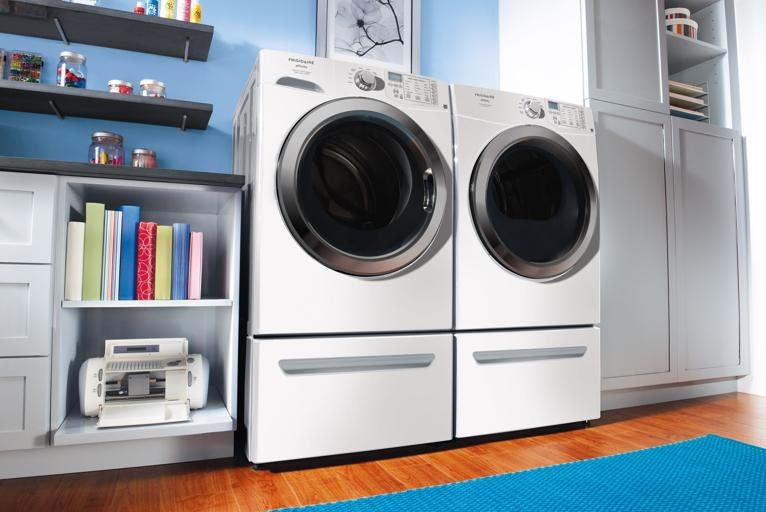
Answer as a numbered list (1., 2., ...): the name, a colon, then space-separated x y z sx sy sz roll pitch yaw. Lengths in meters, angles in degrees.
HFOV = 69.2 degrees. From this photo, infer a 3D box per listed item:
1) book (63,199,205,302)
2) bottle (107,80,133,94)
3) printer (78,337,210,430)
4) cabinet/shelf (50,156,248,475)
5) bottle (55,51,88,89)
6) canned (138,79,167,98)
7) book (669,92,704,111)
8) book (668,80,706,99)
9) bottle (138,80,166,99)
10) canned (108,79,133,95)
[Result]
1. book: -1.087 -0.014 2.379 0.441 0.356 0.172 3 -7 -20
2. bottle: -1.273 -0.819 2.688 0.103 0.067 0.107 0 9 0
3. printer: -1.008 0.532 2.359 0.506 0.298 0.354 3 5 -24
4. cabinet/shelf: -1.059 0.263 2.549 0.758 1.202 0.660 2 1 -22
5. bottle: -1.498 -0.878 2.689 0.087 0.125 0.084 5 12 -1
6. canned: -1.143 -0.822 2.761 0.116 0.092 0.116 2 0 38
7. book: 1.918 -0.966 3.497 0.166 0.035 0.180 2 -1 44
8. book: 1.927 -1.064 3.532 0.220 0.042 0.203 2 0 -27
9. bottle: -1.143 -0.828 2.742 0.116 0.093 0.116 1 -1 31
10. canned: -1.276 -0.821 2.692 0.100 0.084 0.099 1 0 -21
